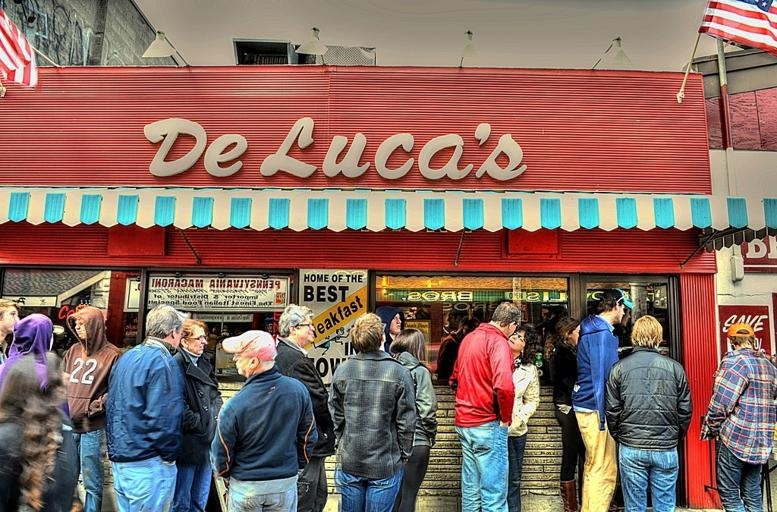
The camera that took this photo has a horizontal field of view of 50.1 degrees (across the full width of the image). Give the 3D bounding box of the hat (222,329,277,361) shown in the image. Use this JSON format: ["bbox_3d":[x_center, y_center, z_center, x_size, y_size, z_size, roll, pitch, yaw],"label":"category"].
[{"bbox_3d":[-1.516,0.999,9.169,0.488,0.237,0.314,13,2,-2],"label":"hat"}]

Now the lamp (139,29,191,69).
[{"bbox_3d":[-3.314,-3.147,12.258,0.270,0.506,0.509,-16,-11,38],"label":"lamp"}]

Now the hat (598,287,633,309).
[{"bbox_3d":[3.140,0.571,11.344,0.465,0.250,0.320,1,3,-20],"label":"hat"}]
